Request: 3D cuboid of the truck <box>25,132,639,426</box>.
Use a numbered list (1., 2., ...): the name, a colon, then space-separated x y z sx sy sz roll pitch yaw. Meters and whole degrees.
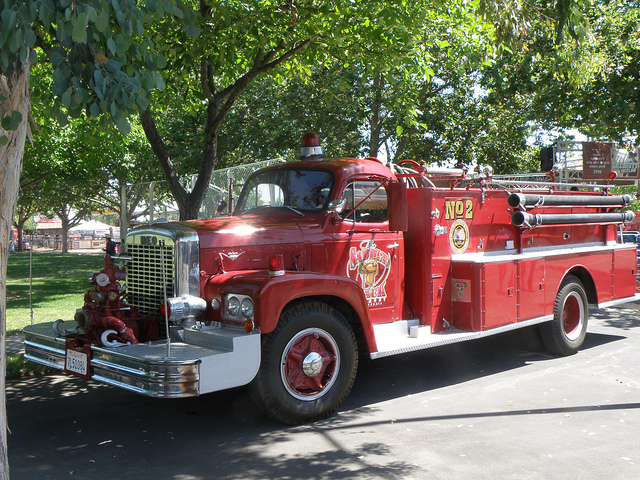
1. truck: 0.739 0.244 8.403 8.306 3.518 1.955 -4 7 -34
